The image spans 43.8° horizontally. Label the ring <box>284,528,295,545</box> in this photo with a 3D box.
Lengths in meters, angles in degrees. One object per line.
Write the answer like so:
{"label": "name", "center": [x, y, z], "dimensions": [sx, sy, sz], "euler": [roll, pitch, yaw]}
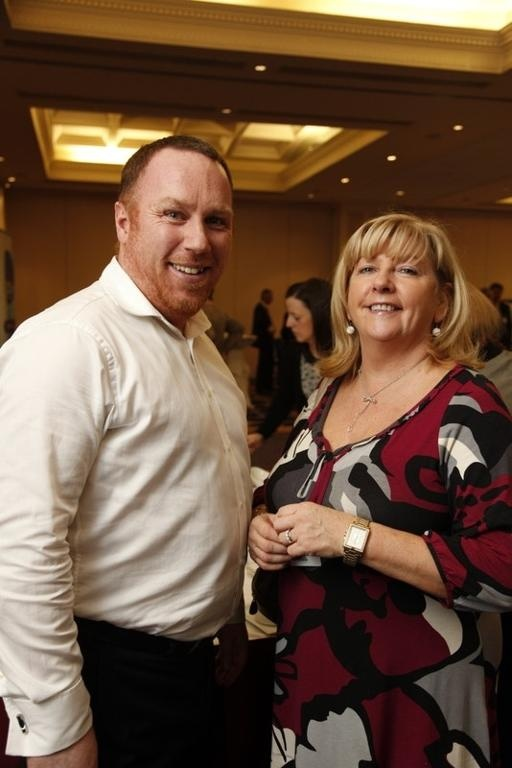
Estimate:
{"label": "ring", "center": [0.069, 0.318, 1.305], "dimensions": [0.030, 0.024, 0.031], "euler": [2, -45, 2]}

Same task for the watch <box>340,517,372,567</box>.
{"label": "watch", "center": [0.195, 0.302, 1.224], "dimensions": [0.051, 0.083, 0.082], "euler": [24, -17, 19]}
